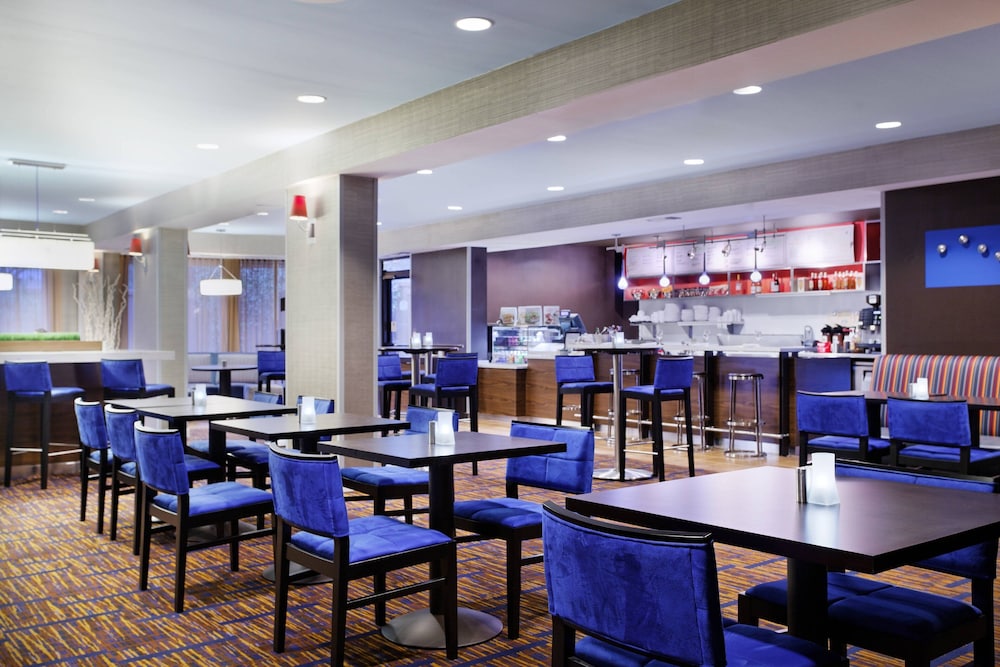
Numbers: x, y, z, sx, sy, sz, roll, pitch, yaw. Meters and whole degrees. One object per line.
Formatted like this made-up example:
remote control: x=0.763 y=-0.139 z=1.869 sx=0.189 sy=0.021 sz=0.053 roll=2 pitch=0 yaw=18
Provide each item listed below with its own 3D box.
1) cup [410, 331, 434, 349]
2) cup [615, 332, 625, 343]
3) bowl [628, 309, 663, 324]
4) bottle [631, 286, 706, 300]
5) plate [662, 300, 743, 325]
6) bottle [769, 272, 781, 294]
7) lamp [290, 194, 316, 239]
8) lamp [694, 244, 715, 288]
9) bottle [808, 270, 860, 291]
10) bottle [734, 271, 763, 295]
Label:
cup: x=-1.333 y=0.118 z=11.599 sx=0.437 sy=0.284 sz=0.440 roll=-1 pitch=-3 yaw=0
cup: x=1.633 y=0.050 z=9.803 sx=0.196 sy=0.172 sz=0.343 roll=-1 pitch=2 yaw=9
bowl: x=2.670 y=-0.299 z=13.134 sx=0.549 sy=0.199 sz=1.043 roll=-1 pitch=4 yaw=-1
bottle: x=3.093 y=-0.742 z=13.417 sx=0.372 sy=0.256 sz=1.683 roll=-4 pitch=5 yaw=-37
plate: x=3.474 y=-0.339 z=12.390 sx=1.341 sy=0.318 sz=0.459 roll=3 pitch=5 yaw=42
bottle: x=4.645 y=-0.855 z=12.094 sx=0.172 sy=0.332 sz=0.286 roll=1 pitch=5 yaw=18
lamp: x=-1.981 y=-1.171 z=7.159 sx=0.233 sy=0.468 sz=0.296 roll=-3 pitch=5 yaw=-27
lamp: x=3.558 y=-1.191 z=12.404 sx=0.238 sy=0.804 sz=1.319 roll=1 pitch=4 yaw=16
bottle: x=5.356 y=-0.855 z=11.417 sx=0.342 sy=0.316 sz=0.843 roll=-3 pitch=5 yaw=-33
bottle: x=4.247 y=-0.848 z=12.213 sx=0.255 sy=0.310 sz=0.480 roll=-1 pitch=0 yaw=-37
